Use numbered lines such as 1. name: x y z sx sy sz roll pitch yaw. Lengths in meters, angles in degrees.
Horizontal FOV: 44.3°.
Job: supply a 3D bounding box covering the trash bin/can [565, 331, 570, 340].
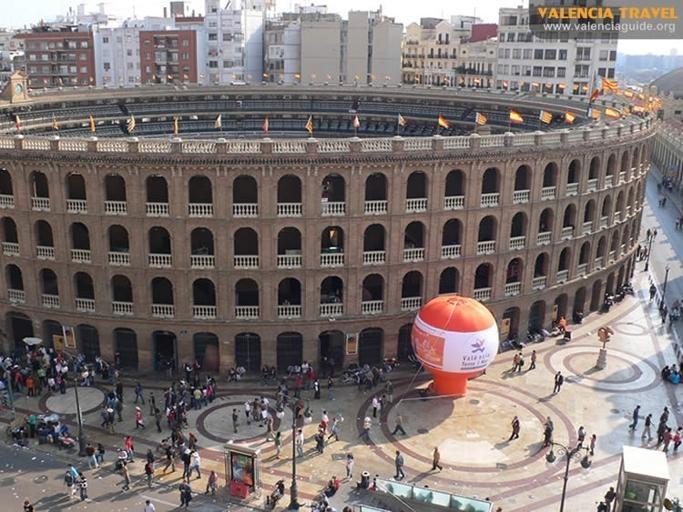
1. trash bin/can: 27.787 9.795 103.131 0.735 1.085 0.900 7 19 20
